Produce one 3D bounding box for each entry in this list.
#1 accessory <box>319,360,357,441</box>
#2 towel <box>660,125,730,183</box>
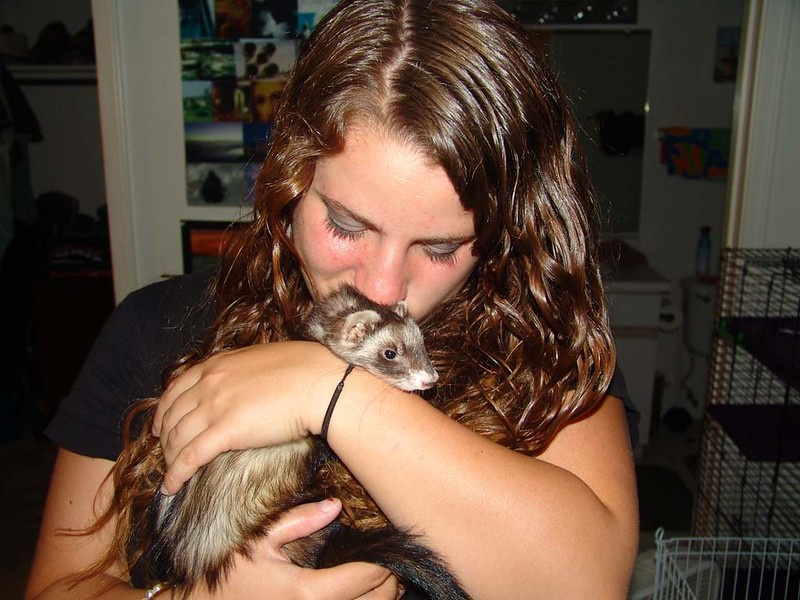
[{"bbox_3d":[-0.279,0.468,3.129,0.073,0.298,0.230,5,12,23],"label":"accessory"},{"bbox_3d":[2.410,-1.201,5.754,0.542,0.426,0.100,5,12,20],"label":"towel"}]
